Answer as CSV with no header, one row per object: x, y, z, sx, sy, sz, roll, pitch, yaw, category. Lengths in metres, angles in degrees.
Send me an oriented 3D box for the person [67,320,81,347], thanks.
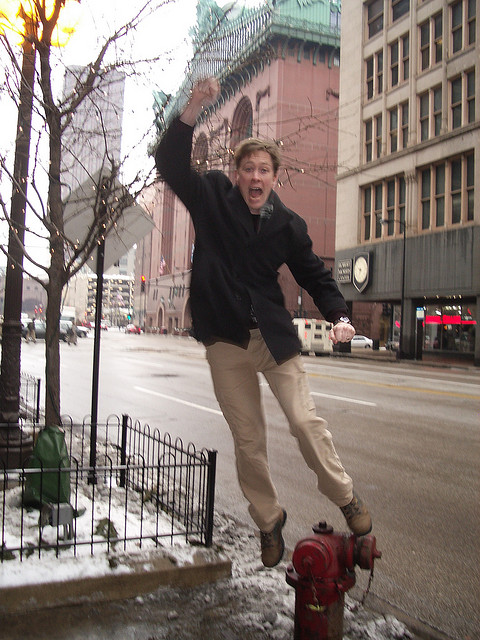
-13.393,1.040,40.033,0.779,3.554,0.790,6,-12,-37,person

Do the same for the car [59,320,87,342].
-13.677,0.889,40.857,1.539,1.413,1.249,-5,0,3,car

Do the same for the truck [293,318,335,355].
3.726,0.780,24.939,1.475,2.264,0.894,0,-1,-42,truck

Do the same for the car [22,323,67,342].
-9.037,0.591,22.542,1.488,0.968,0.940,-4,-1,4,car

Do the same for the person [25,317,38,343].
-14.384,0.690,34.386,0.620,0.850,2.242,-16,-24,-33,person

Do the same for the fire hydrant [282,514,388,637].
0.344,0.995,1.843,0.344,0.434,0.207,1,-2,-17,fire hydrant

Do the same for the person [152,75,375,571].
0.078,0.047,2.541,0.976,2.417,0.600,0,-2,-3,person
